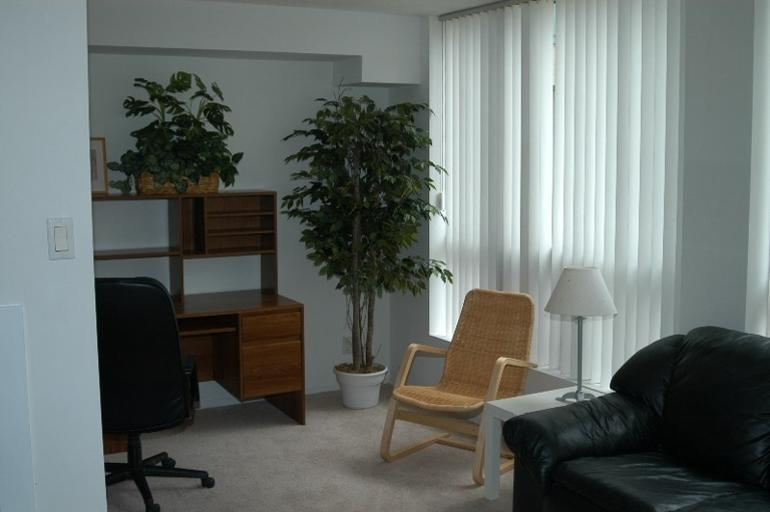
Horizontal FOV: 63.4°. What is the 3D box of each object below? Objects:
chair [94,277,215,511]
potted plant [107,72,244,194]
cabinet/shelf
[{"bbox_3d":[-1.464,0.854,3.919,0.623,1.507,0.428,-5,12,-25],"label":"chair"},{"bbox_3d":[-1.698,-1.006,5.032,1.013,0.970,0.572,-4,11,-21],"label":"potted plant"},{"bbox_3d":[-1.420,0.500,4.678,1.936,1.883,1.013,-3,4,-29],"label":"cabinet/shelf"}]
